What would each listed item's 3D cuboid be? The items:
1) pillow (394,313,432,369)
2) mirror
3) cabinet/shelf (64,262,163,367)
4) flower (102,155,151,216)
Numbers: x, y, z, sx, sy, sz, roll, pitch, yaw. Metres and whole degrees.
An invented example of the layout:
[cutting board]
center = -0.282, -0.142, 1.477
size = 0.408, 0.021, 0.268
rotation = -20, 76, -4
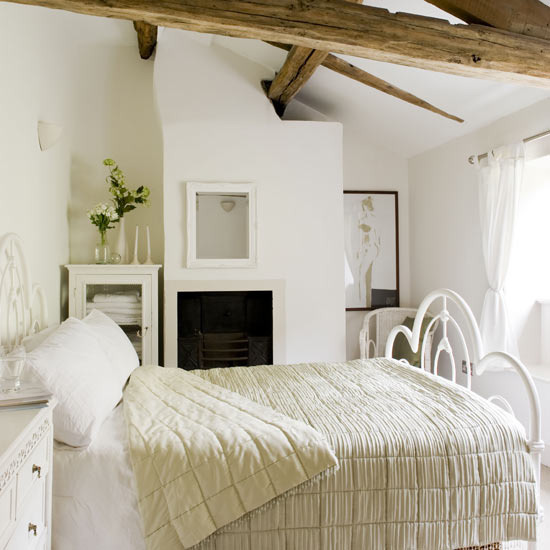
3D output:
[pillow]
center = 1.115, 0.501, 4.215
size = 0.106, 0.429, 0.363
rotation = 20, -4, -25
[mirror]
center = -0.397, -0.359, 3.702
size = 0.473, 0.716, 0.030
rotation = 0, 0, -8
[cabinet/shelf]
center = -1.100, 0.463, 3.627
size = 0.535, 1.154, 0.257
rotation = -2, 8, -18
[flower]
center = -1.088, -0.587, 3.719
size = 0.176, 0.275, 0.271
rotation = -2, 0, -6
